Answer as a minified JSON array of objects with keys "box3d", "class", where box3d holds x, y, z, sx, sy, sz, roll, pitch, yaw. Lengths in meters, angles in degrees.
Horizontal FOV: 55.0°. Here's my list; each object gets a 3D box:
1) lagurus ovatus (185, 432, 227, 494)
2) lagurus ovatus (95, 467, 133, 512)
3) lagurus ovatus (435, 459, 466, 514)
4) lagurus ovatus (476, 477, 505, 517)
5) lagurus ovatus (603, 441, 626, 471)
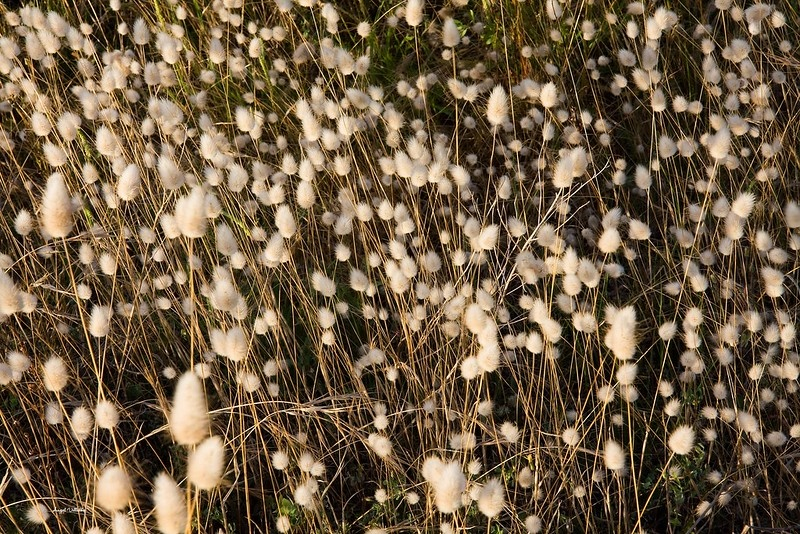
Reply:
[{"box3d":[-0.816,0.809,3.193,0.141,0.215,0.190,0,-4,-18],"class":"lagurus ovatus"},{"box3d":[-1.161,0.893,3.113,0.119,0.188,0.231,0,-5,-19],"class":"lagurus ovatus"},{"box3d":[0.216,0.978,3.424,0.132,0.237,0.199,-2,-4,2],"class":"lagurus ovatus"},{"box3d":[0.415,1.057,3.505,0.098,0.191,0.152,-2,-4,14],"class":"lagurus ovatus"},{"box3d":[1.054,0.926,3.769,0.091,0.168,0.226,-3,-5,19],"class":"lagurus ovatus"}]
